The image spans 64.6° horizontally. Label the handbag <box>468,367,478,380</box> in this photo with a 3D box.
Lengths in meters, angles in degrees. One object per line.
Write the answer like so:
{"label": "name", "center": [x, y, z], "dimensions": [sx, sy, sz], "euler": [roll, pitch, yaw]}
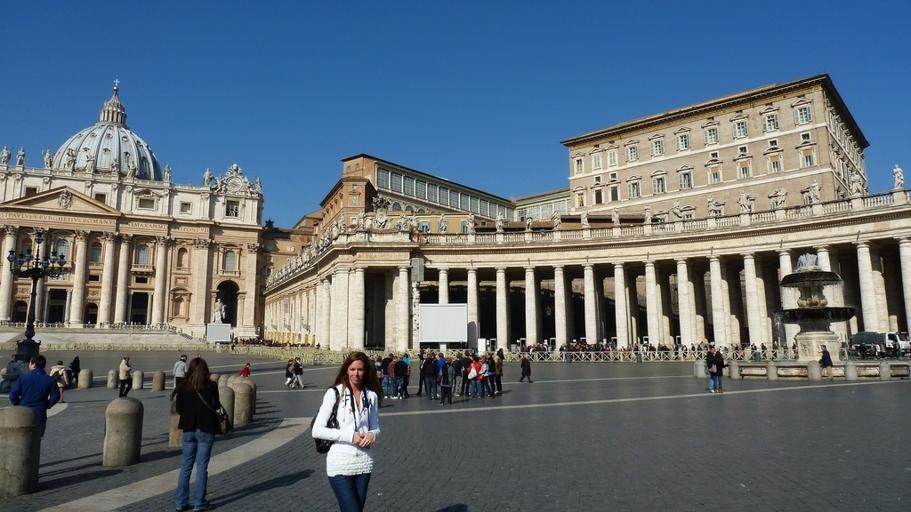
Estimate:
{"label": "handbag", "center": [1.004, 6.855, 42.311], "dimensions": [0.539, 0.591, 0.252], "euler": [7, -5, -12]}

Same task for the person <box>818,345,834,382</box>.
{"label": "person", "center": [23.911, 6.891, 46.436], "dimensions": [0.717, 1.883, 1.286], "euler": [-7, -12, 22]}

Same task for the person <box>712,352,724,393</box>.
{"label": "person", "center": [15.364, 6.738, 42.226], "dimensions": [0.606, 2.409, 1.434], "euler": [-6, -12, 18]}
